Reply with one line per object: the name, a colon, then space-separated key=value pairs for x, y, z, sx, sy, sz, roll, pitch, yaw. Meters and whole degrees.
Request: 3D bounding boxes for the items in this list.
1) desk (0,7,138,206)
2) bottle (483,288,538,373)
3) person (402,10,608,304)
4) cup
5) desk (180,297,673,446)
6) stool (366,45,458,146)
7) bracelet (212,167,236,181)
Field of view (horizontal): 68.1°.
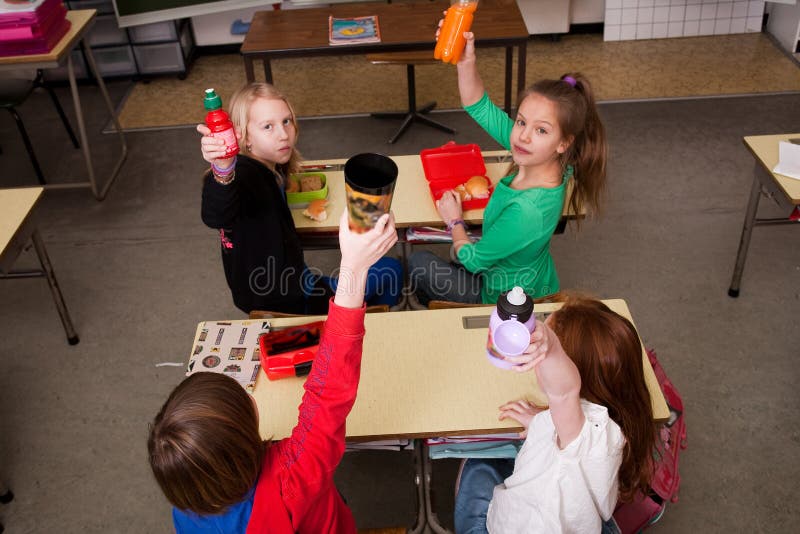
desk: x=-2.428 y=-1.286 z=4.463 sx=0.640 sy=1.191 sz=1.483 roll=-15 pitch=37 yaw=-17
bottle: x=0.289 y=0.162 z=1.656 sx=0.132 sy=0.212 sz=0.217 roll=3 pitch=60 yaw=2
person: x=0.589 y=-0.358 z=2.896 sx=0.730 sy=1.042 sz=0.450 roll=-18 pitch=38 yaw=-20
cup: x=-0.106 y=-0.236 z=1.963 sx=0.161 sy=0.237 sz=0.151 roll=6 pitch=49 yaw=-6
desk: x=0.048 y=0.575 z=2.989 sx=1.464 sy=0.351 sz=0.554 roll=-4 pitch=75 yaw=-2
stool: x=0.086 y=-1.415 z=4.658 sx=0.726 sy=0.690 sz=0.649 roll=17 pitch=42 yaw=22
bracelet: x=-0.650 y=-0.342 z=2.203 sx=0.053 sy=0.047 sz=0.065 roll=10 pitch=34 yaw=13
